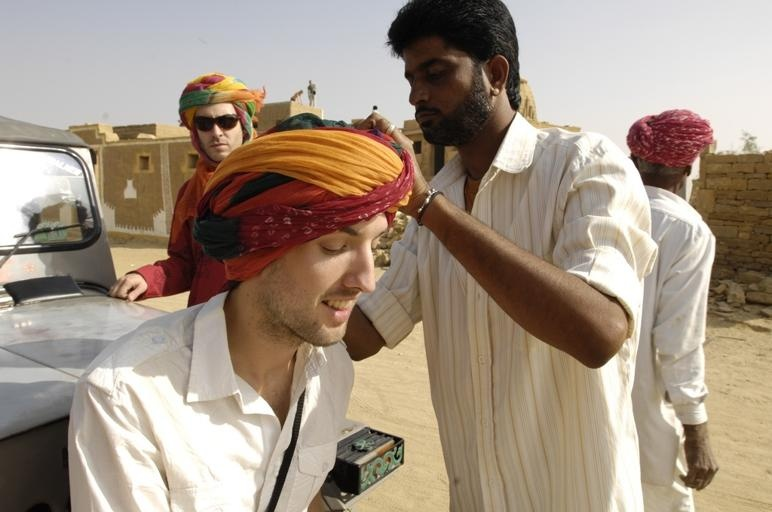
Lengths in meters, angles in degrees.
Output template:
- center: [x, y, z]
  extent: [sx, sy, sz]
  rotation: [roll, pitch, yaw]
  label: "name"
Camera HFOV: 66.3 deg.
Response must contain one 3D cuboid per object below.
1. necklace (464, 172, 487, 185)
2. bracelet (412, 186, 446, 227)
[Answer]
- center: [0.480, -0.412, 3.117]
  extent: [0.113, 0.056, 0.152]
  rotation: [0, -2, 1]
  label: "necklace"
- center: [0.188, -0.227, 2.696]
  extent: [0.058, 0.157, 0.138]
  rotation: [29, 5, 12]
  label: "bracelet"
